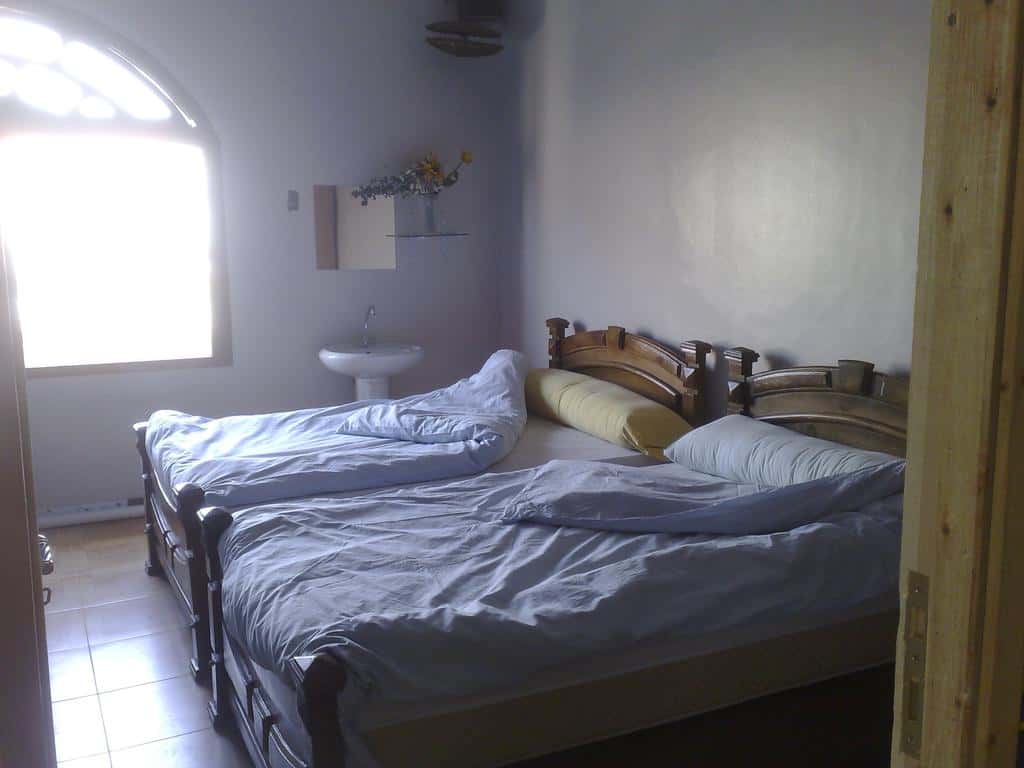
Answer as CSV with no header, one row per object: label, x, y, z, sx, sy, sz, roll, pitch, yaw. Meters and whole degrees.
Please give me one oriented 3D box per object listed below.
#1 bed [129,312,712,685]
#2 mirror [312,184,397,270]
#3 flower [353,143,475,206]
bed,-0.375,0.549,3.694,2.175,1.148,1.384,-7,17,-28
mirror,-0.944,-0.928,4.892,0.477,0.483,0.019,-4,11,-23
flower,-0.612,-1.240,4.934,0.751,0.304,0.173,-9,36,1
